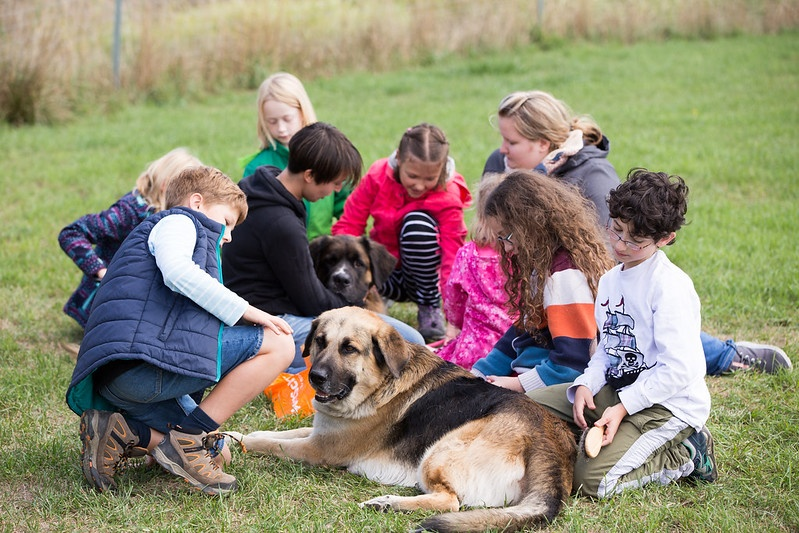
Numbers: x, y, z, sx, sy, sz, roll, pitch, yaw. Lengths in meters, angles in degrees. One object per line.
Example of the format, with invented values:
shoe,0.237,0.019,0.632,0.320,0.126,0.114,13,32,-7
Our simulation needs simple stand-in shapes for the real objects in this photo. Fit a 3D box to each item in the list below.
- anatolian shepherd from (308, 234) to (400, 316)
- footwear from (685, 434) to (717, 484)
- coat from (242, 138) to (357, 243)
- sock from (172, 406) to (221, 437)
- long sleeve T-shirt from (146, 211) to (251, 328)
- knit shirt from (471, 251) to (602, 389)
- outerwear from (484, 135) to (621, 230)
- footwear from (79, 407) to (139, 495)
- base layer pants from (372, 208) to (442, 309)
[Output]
anatolian shepherd,-0.499,0.086,10.212,0.663,0.614,0.893,1,7,0
footwear,2.690,1.704,8.466,0.247,0.592,0.186,-6,1,-26
coat,-1.224,-1.388,11.223,0.978,1.688,1.735,3,24,-19
sock,-1.775,1.379,8.270,0.441,0.337,0.153,0,5,-18
long sleeve T-shirt,-1.776,0.042,8.213,0.912,0.360,0.796,42,9,-16
knit shirt,1.268,0.545,9.549,1.212,1.591,1.144,4,5,-3
outerwear,1.566,-0.837,9.571,0.986,0.406,0.369,12,-13,36
footwear,-2.522,1.602,8.250,0.493,0.706,0.254,-7,15,-18
base layer pants,0.163,-0.047,10.839,0.506,1.176,0.611,9,1,19
